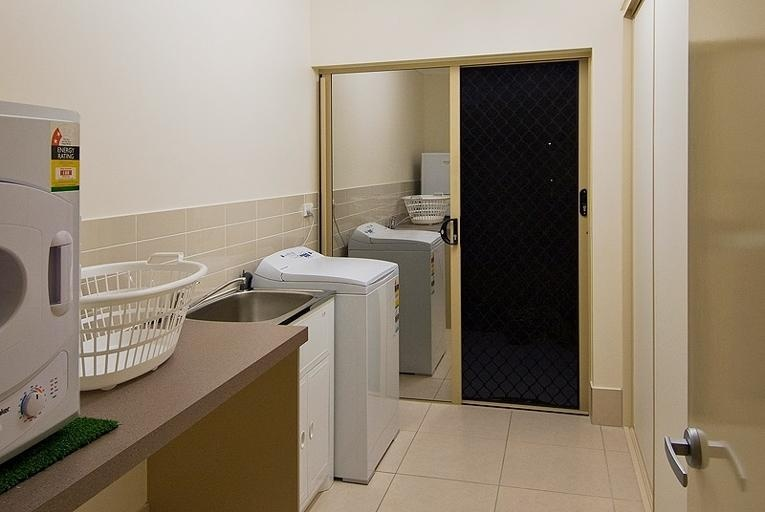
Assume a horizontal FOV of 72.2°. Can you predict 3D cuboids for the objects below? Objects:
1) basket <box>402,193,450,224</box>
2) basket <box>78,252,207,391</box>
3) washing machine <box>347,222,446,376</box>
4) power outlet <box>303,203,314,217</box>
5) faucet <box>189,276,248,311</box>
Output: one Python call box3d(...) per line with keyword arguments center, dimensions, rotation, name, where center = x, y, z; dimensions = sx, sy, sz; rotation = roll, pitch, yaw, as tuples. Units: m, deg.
box3d(center=(0.304, -0.327, 3.639), dimensions=(0.210, 0.113, 0.222), rotation=(-1, -1, 15), name="basket")
box3d(center=(-0.758, 0.206, 1.662), dimensions=(0.366, 0.266, 0.498), rotation=(3, 10, 11), name="basket")
box3d(center=(0.228, 0.212, 4.417), dimensions=(0.783, 1.596, 1.129), rotation=(0, 2, 11), name="washing machine")
box3d(center=(-0.507, -0.315, 3.579), dimensions=(0.033, 0.085, 0.056), rotation=(17, 16, 40), name="power outlet")
box3d(center=(-0.837, 0.188, 2.695), dimensions=(0.065, 0.114, 0.343), rotation=(12, 23, 22), name="faucet")
